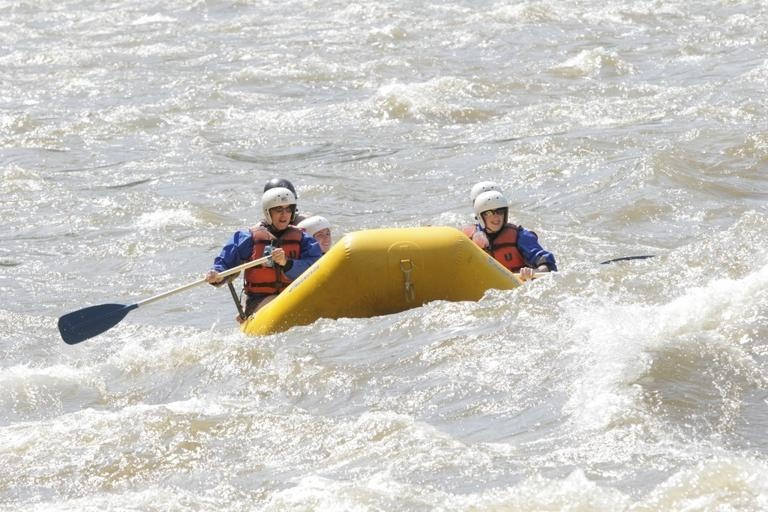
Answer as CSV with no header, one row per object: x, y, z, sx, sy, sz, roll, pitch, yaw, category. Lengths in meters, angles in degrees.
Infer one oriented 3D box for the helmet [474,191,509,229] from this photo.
1.503,-0.707,19.644,0.448,0.430,0.421,-6,30,0,helmet

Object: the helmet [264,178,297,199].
-1.445,-0.951,19.971,0.430,0.406,0.352,-9,52,0,helmet

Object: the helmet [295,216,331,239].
-1.033,-0.413,20.192,0.482,0.244,0.276,-7,-13,-9,helmet

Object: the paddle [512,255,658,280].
2.784,0.169,19.332,2.801,0.196,0.408,2,6,-40,paddle
